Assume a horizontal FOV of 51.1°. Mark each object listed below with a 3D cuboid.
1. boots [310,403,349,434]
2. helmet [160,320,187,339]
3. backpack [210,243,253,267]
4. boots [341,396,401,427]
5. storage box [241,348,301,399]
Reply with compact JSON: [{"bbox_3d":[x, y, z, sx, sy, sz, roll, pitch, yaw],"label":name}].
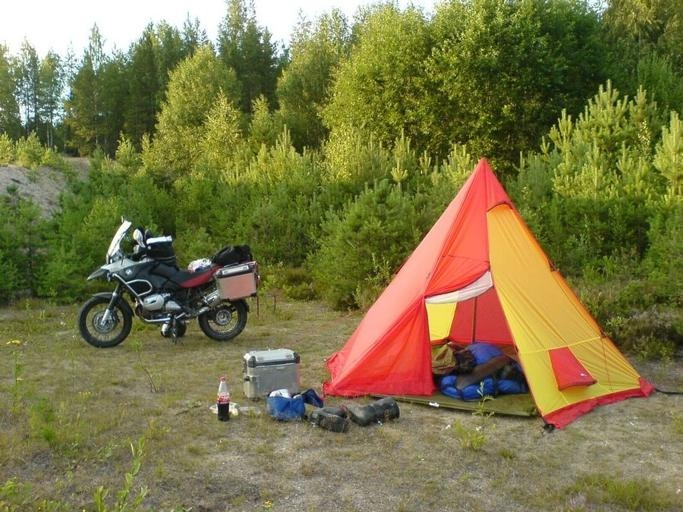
[{"bbox_3d":[-0.183,2.354,10.348,0.604,0.291,0.289,11,5,33],"label":"boots"},{"bbox_3d":[-3.205,1.389,13.495,0.334,0.244,0.351,17,15,33],"label":"helmet"},{"bbox_3d":[-2.102,-0.009,13.691,0.626,0.294,0.377,-12,20,-31],"label":"backpack"},{"bbox_3d":[0.468,2.302,10.510,0.545,0.267,0.411,-5,4,-20],"label":"boots"},{"bbox_3d":[-1.102,1.620,11.221,0.917,0.993,0.613,-1,10,-15],"label":"storage box"}]
